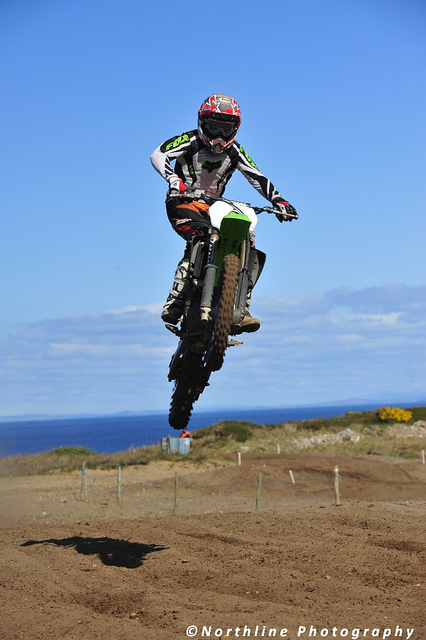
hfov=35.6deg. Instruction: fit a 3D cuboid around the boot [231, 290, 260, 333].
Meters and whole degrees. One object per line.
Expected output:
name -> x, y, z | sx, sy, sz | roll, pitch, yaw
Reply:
boot -> 0.476, -0.116, 9.298 | 0.324, 0.632, 0.703 | 1, -5, 12
